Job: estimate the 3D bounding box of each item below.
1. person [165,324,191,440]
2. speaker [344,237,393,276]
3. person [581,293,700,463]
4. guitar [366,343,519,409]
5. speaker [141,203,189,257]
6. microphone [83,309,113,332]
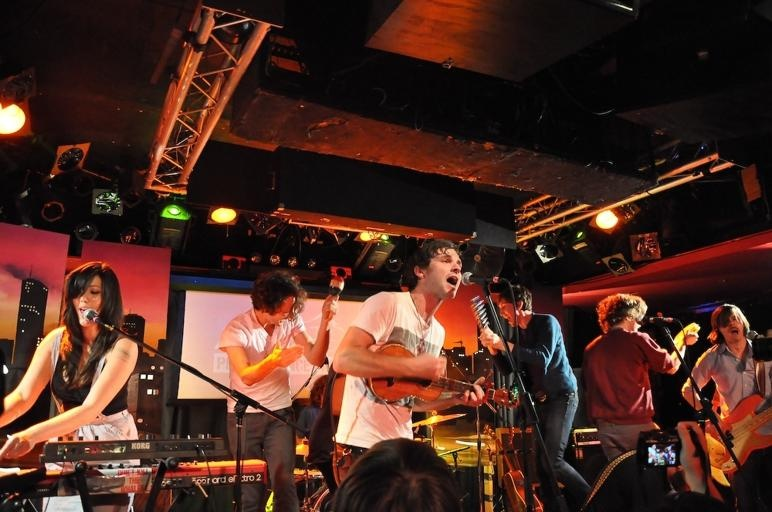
[{"bbox_3d":[-3.067,1.815,8.748,0.148,1.580,0.351,-16,-24,39],"label":"person"},{"bbox_3d":[-0.221,0.007,10.042,0.491,0.177,0.679,8,-45,-34],"label":"speaker"},{"bbox_3d":[2.853,1.363,7.017,0.962,1.917,0.403,-7,-19,18],"label":"person"},{"bbox_3d":[0.481,1.107,5.265,1.546,0.551,0.234,13,-4,-22],"label":"guitar"},{"bbox_3d":[-3.225,-0.400,8.531,0.537,0.492,0.915,9,-42,-28],"label":"speaker"},{"bbox_3d":[-2.746,0.602,5.563,0.149,0.142,0.492,-3,18,-36],"label":"microphone"}]
